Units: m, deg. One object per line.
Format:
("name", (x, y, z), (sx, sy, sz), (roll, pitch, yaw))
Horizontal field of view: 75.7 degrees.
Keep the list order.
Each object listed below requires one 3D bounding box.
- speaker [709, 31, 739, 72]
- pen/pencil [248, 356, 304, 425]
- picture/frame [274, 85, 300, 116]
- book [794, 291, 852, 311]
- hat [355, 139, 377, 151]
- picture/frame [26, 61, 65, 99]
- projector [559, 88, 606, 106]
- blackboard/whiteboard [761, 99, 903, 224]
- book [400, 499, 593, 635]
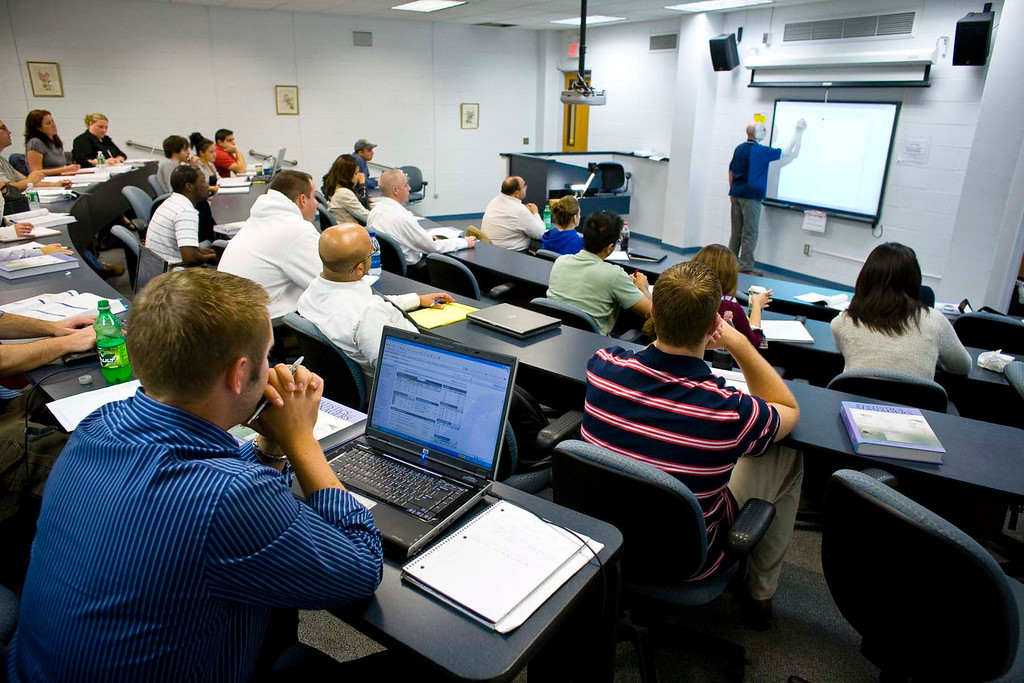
("speaker", (2.496, -3.388, 7.660), (0.378, 0.396, 0.317), (-13, 26, -33))
("pen/pencil", (-0.629, 0.141, 1.766), (0.026, 0.026, 0.237), (14, 51, 21))
("picture/frame", (-3.013, -3.272, 8.859), (0.030, 0.451, 0.394), (10, 16, 40))
("book", (2.072, -0.272, 4.346), (0.191, 0.048, 0.198), (-13, 20, -41))
("hat", (-1.783, -2.512, 8.378), (0.238, 0.136, 0.374), (19, 26, 40))
("picture/frame", (-5.238, -2.978, 7.428), (0.405, 0.478, 0.049), (-9, 13, -37))
("projector", (0.775, -2.583, 6.971), (0.388, 0.154, 0.288), (3, 8, -3))
("blackboard/whiteboard", (3.410, -1.922, 6.940), (0.098, 1.144, 1.331), (-12, 23, -34))
("book", (-0.052, 0.616, 1.798), (0.281, 0.045, 0.323), (19, 33, 32))
